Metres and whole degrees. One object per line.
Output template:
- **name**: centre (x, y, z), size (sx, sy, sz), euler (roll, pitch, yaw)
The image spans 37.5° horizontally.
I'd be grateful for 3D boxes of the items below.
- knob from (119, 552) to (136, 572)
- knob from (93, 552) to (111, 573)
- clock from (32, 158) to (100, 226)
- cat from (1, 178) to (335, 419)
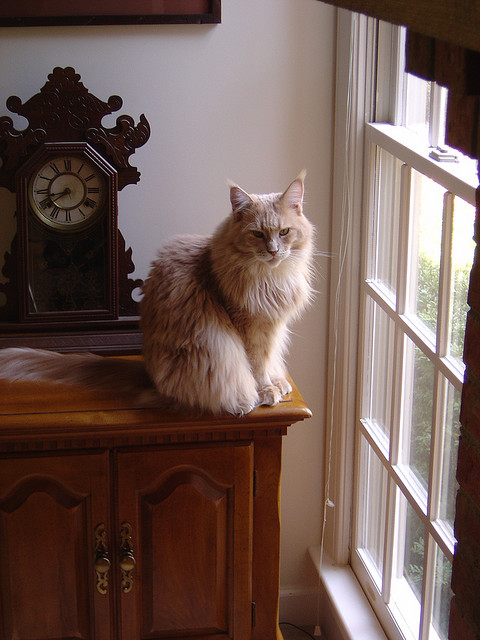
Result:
- **knob**: centre (-0.213, 0.458, 1.341), size (0.027, 0.032, 0.029), euler (3, -2, 3)
- **knob**: centre (-0.260, 0.458, 1.335), size (0.028, 0.034, 0.034), euler (-1, 6, -10)
- **clock**: centre (-0.377, -0.283, 1.554), size (0.164, 0.021, 0.193), euler (-4, -48, -19)
- **cat**: centre (-0.193, -0.056, 1.490), size (0.452, 0.341, 0.186), euler (-4, 12, -11)
